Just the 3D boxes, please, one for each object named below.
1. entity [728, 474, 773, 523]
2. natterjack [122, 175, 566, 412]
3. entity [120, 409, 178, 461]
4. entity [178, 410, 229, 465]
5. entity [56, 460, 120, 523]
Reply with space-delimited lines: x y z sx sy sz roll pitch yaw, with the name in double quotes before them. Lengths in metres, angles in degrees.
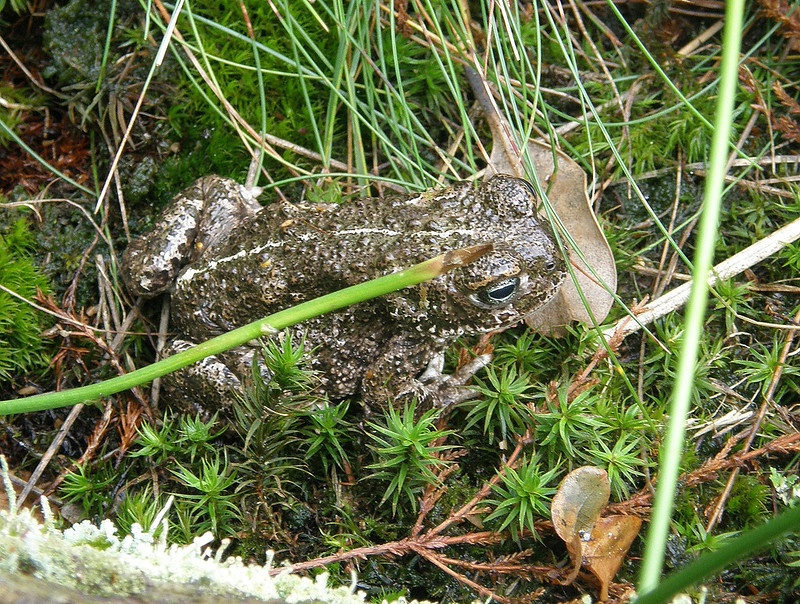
"entity" 1.763 1.008 3.865 0.217 0.081 0.252 29 80 7
"natterjack" -0.268 -0.117 4.162 2.280 0.860 1.522 -6 56 3
"entity" -1.274 0.705 4.048 0.303 0.451 0.249 5 79 3
"entity" -1.018 0.704 3.979 0.258 0.329 0.248 -1 79 2
"entity" -1.597 0.955 3.873 0.346 0.246 0.279 -12 78 -1
